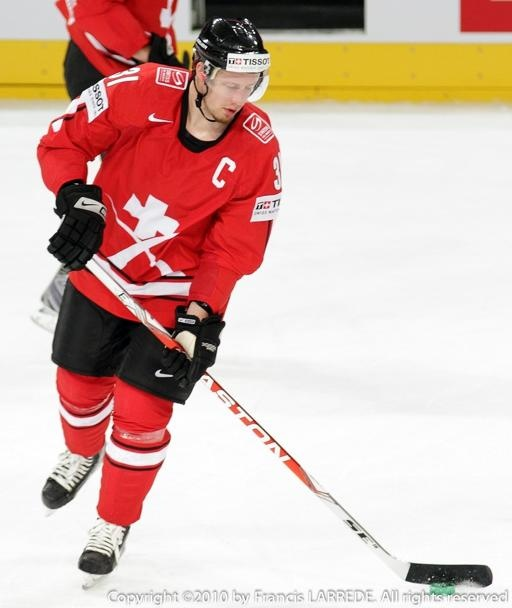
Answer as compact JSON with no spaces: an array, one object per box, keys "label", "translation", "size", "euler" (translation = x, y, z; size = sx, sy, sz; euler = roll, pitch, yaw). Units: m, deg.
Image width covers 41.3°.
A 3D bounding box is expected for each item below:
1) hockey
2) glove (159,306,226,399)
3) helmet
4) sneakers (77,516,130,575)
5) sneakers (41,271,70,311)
[{"label":"hockey","translation":[0.096,0.334,1.816],"size":[1.092,0.208,0.095],"euler":[40,-13,-5]},{"label":"glove","translation":[-0.120,0.091,1.375],"size":[0.088,0.108,0.193],"euler":[-21,18,42]},{"label":"helmet","translation":[-0.048,-0.489,1.288],"size":[0.121,0.138,0.153],"euler":[9,6,-21]},{"label":"sneakers","translation":[-0.312,0.494,1.413],"size":[0.055,0.052,0.145],"euler":[24,10,0]},{"label":"sneakers","translation":[-0.677,-0.040,2.277],"size":[0.057,0.153,0.126],"euler":[23,21,-13]}]
